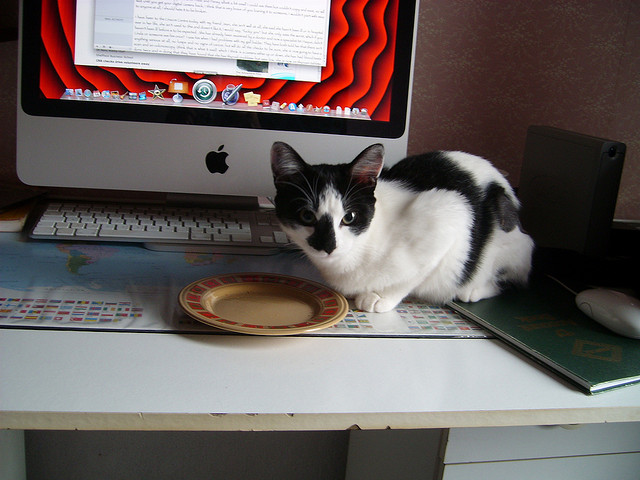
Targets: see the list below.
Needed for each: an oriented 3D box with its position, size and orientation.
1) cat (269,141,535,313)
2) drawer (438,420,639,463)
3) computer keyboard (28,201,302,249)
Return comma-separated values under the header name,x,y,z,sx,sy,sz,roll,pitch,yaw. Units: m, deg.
name,x,y,z,sx,sy,sz,roll,pitch,yaw
cat,0.142,-0.036,0.870,0.466,0.205,0.258,-8,18,-31
drawer,0.290,0.277,0.699,0.164,0.025,0.124,-1,4,-10
computer keyboard,-0.295,-0.033,1.003,0.482,0.055,0.225,1,11,-5
